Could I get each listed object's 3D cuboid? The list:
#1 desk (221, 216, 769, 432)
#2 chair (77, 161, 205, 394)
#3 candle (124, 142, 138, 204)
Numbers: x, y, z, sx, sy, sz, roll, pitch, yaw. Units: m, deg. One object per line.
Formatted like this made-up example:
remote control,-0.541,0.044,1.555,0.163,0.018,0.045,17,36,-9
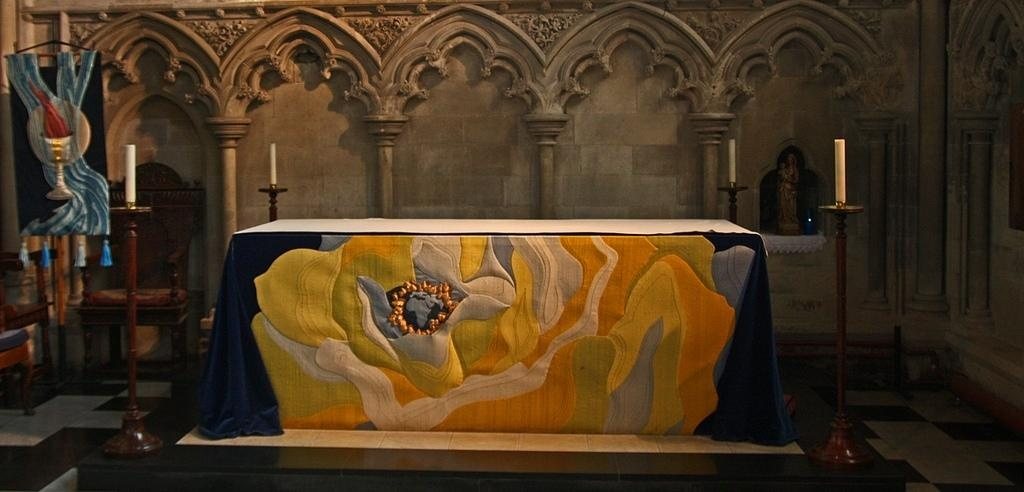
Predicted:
desk,-0.210,1.228,15.913,7.359,2.871,1.380,0,-15,-4
chair,-5.781,0.287,18.409,1.990,2.823,2.025,4,7,14
candle,-5.136,-0.940,15.885,0.185,0.818,0.172,0,3,-15
